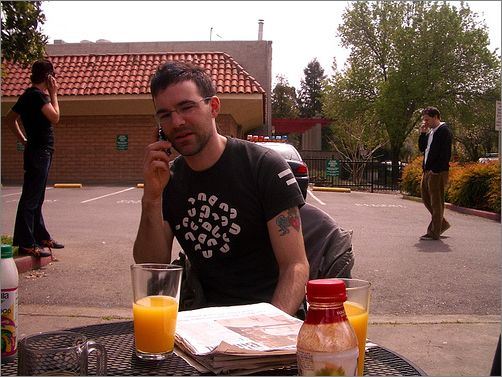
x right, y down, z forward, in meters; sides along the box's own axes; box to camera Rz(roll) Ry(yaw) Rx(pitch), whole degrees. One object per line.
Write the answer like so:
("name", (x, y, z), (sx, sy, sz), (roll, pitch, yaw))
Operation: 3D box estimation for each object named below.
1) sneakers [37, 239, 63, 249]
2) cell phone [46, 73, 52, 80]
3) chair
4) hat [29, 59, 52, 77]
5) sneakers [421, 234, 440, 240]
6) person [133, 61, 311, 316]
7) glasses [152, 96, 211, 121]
("sneakers", (-3.107, 0.868, 6.333), (0.371, 0.155, 0.130), (3, 8, -29))
("cell phone", (-2.982, -1.678, 6.060), (0.088, 0.094, 0.021), (0, -13, 25))
("chair", (-0.031, 0.357, 3.235), (1.407, 0.548, 1.122), (10, -8, 1))
("hat", (-3.080, -1.813, 6.071), (0.231, 0.308, 0.300), (4, 24, 2))
("sneakers", (3.795, 1.028, 8.740), (0.396, 0.182, 0.149), (5, -6, -1))
("person", (-0.278, 0.042, 2.599), (1.090, 1.611, 1.029), (-7, 6, 11))
("glasses", (-0.428, -0.516, 2.590), (0.381, 0.121, 0.109), (-11, -3, -6))
